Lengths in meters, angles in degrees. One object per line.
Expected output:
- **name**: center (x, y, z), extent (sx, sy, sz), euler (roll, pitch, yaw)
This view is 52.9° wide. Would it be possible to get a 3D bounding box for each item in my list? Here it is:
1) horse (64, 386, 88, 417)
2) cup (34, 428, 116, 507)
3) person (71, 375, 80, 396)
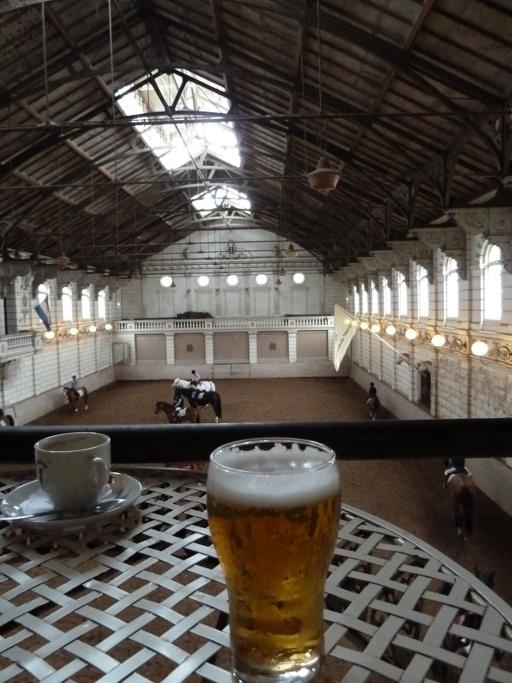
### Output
- **horse**: center (-6.758, 1.968, 19.283), extent (0.707, 1.133, 2.098), euler (-3, 3, -18)
- **cup**: center (-0.395, 0.279, 1.179), extent (0.188, 0.132, 0.143), euler (2, 4, 12)
- **person**: center (-6.688, 1.632, 18.935), extent (0.279, 0.648, 0.877), euler (-3, 3, -19)
